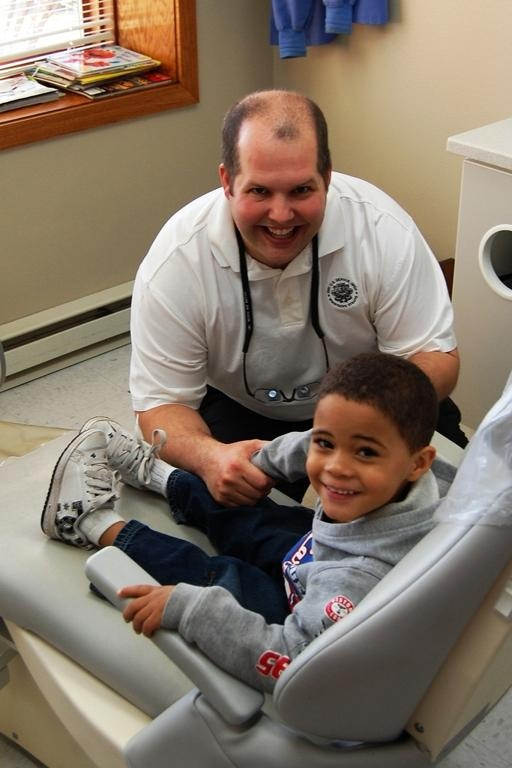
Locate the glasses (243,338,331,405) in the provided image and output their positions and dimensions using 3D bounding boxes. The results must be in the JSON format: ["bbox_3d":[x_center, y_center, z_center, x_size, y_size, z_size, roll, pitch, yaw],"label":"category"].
[{"bbox_3d":[0.067,-0.038,1.365,0.155,0.154,0.045,-1,9,5],"label":"glasses"}]

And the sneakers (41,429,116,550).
[{"bbox_3d":[-0.251,0.152,0.977,0.083,0.072,0.210,-11,42,32],"label":"sneakers"}]
